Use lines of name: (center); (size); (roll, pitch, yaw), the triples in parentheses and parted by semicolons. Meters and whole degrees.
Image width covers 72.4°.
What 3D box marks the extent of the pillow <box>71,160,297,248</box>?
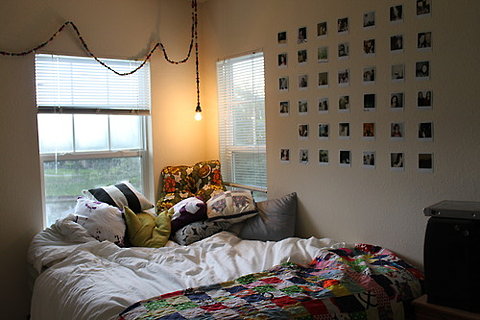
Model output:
pillow: (-0.384, 0.459, 3.944); (2.090, 0.870, 0.995); (0, 2, 6)
